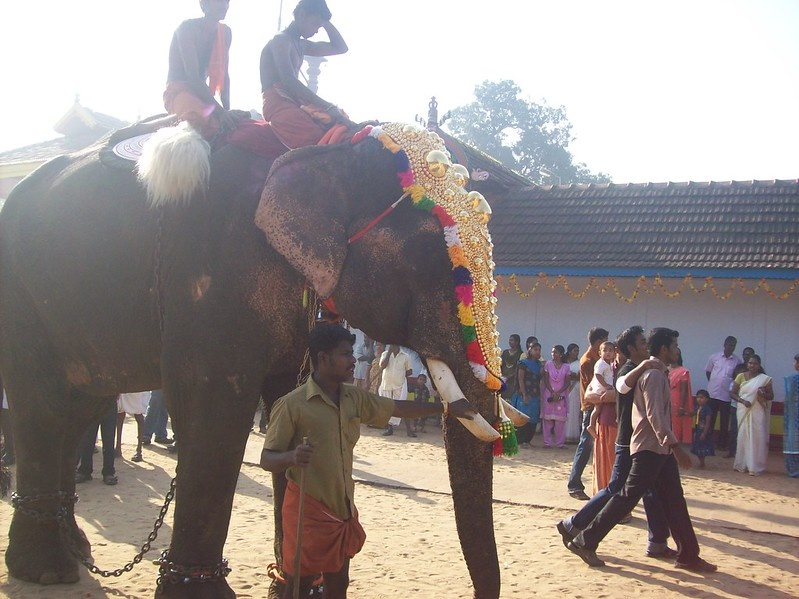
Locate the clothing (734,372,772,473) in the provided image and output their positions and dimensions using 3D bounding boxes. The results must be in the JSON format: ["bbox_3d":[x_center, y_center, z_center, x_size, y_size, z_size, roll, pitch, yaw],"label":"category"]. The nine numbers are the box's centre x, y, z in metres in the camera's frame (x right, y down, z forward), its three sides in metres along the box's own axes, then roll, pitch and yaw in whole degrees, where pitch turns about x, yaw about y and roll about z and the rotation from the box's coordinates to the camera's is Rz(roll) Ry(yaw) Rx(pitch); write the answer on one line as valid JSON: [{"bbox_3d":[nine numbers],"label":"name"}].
[{"bbox_3d":[4.622,1.528,11.272,0.478,1.526,0.389,2,-2,25],"label":"clothing"}]

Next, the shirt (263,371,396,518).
[{"bbox_3d":[-0.308,0.967,5.326,1.183,1.001,0.433,1,-12,-36],"label":"shirt"}]

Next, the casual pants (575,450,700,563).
[{"bbox_3d":[1.964,1.723,7.027,1.026,0.963,0.253,4,-2,-7],"label":"casual pants"}]

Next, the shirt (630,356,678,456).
[{"bbox_3d":[2.114,0.912,7.146,0.364,0.748,0.562,2,-3,17],"label":"shirt"}]

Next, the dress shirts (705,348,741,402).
[{"bbox_3d":[4.758,1.122,12.640,0.469,0.690,0.281,9,10,15],"label":"dress shirts"}]

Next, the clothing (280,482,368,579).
[{"bbox_3d":[-0.449,1.402,5.265,0.566,0.581,0.313,1,-7,-38],"label":"clothing"}]
